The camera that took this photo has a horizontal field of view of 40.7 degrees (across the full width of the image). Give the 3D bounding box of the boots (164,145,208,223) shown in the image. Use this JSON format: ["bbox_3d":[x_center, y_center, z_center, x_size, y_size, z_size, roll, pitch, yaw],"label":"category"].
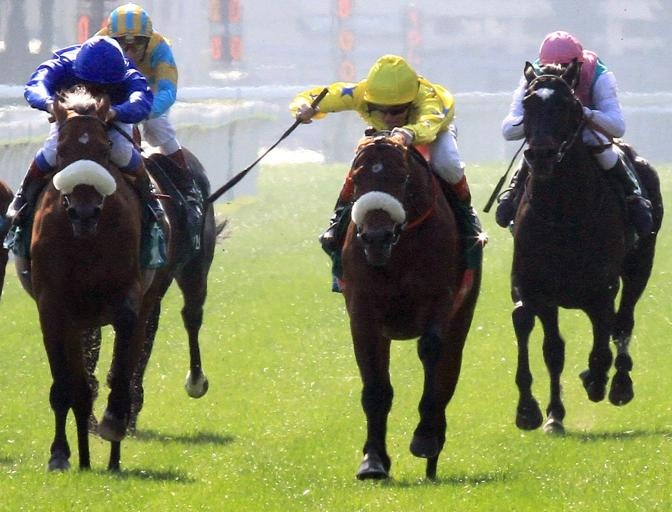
[{"bbox_3d":[-1.486,-0.677,8.307,0.236,0.868,0.276,-22,-13,9],"label":"boots"}]

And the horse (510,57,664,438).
[{"bbox_3d":[1.918,-0.044,7.730,0.818,3.203,1.332,0,2,36],"label":"horse"}]

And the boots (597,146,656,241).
[{"bbox_3d":[2.598,-0.529,8.157,0.245,0.884,0.502,-22,-9,21],"label":"boots"}]

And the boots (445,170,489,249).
[{"bbox_3d":[0.974,-0.316,6.779,0.186,0.729,0.424,-15,-11,16],"label":"boots"}]

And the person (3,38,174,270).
[{"bbox_3d":[-2.063,-0.954,7.412,0.895,1.271,2.180,0,-9,-2],"label":"person"}]

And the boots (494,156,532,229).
[{"bbox_3d":[1.640,-0.587,8.425,0.203,0.724,0.261,9,-36,27],"label":"boots"}]

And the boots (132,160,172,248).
[{"bbox_3d":[-1.446,-0.381,7.059,0.165,0.691,0.391,-24,1,8],"label":"boots"}]

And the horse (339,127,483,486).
[{"bbox_3d":[0.435,0.377,6.270,0.715,2.420,1.262,0,2,24],"label":"horse"}]

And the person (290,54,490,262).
[{"bbox_3d":[0.400,-0.764,6.984,1.184,0.972,1.764,-1,-11,11],"label":"person"}]

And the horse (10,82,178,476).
[{"bbox_3d":[-1.773,0.203,6.424,0.751,2.789,0.927,-1,2,-3],"label":"horse"}]
